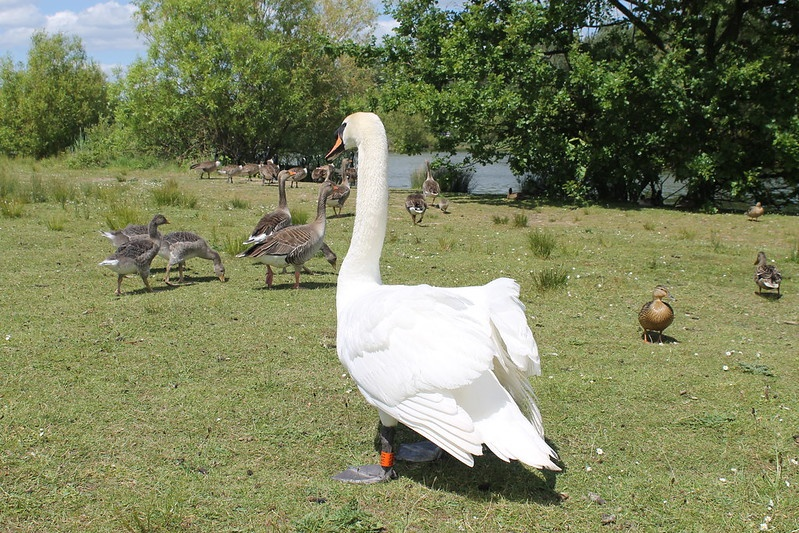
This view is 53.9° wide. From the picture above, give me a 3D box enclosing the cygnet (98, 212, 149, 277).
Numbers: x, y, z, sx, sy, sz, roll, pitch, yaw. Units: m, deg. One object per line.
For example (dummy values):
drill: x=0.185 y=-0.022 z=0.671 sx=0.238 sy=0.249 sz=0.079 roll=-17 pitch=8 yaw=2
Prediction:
cygnet: x=-6.643 y=-0.758 z=19.103 sx=1.473 sy=0.877 sz=0.530 roll=12 pitch=7 yaw=-30
